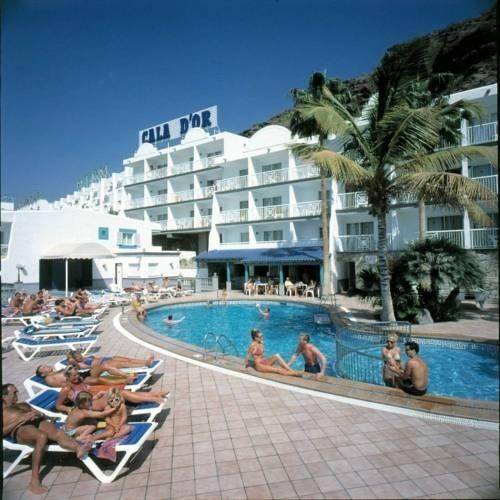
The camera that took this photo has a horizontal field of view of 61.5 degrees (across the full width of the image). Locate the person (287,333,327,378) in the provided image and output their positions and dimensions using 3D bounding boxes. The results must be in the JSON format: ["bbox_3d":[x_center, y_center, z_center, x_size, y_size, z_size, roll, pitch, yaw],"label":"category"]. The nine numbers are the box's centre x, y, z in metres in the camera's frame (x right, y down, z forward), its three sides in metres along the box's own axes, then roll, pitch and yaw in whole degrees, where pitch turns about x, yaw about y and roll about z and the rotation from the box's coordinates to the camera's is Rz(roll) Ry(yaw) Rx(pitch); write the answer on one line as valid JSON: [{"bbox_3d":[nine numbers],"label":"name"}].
[{"bbox_3d":[1.377,2.699,9.877,0.861,1.479,0.621,1,13,28],"label":"person"}]

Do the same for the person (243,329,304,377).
[{"bbox_3d":[0.559,2.468,9.771,1.366,0.964,0.784,10,6,22],"label":"person"}]

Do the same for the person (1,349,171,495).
[{"bbox_3d":[-2.694,2.733,6.335,2.083,0.829,1.207,2,3,1],"label":"person"}]

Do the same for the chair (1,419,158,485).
[{"bbox_3d":[-2.546,2.984,6.234,1.856,0.583,0.941,1,-1,9],"label":"chair"}]

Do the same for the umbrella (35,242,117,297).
[{"bbox_3d":[-11.601,1.924,27.542,4.570,4.518,3.080,-5,-7,32],"label":"umbrella"}]

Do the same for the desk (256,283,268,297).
[{"bbox_3d":[0.784,2.653,28.253,0.665,0.748,0.717,-1,-6,-3],"label":"desk"}]

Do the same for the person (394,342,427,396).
[{"bbox_3d":[3.272,2.390,8.462,0.524,0.984,0.651,0,5,19],"label":"person"}]

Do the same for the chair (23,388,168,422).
[{"bbox_3d":[-2.740,2.683,7.280,1.799,0.616,0.931,-1,-2,8],"label":"chair"}]

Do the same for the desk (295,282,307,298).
[{"bbox_3d":[3.141,2.560,26.470,0.634,0.945,0.905,3,-6,-21],"label":"desk"}]

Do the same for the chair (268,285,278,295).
[{"bbox_3d":[1.528,2.663,27.482,0.512,0.813,0.551,2,-16,-9],"label":"chair"}]
